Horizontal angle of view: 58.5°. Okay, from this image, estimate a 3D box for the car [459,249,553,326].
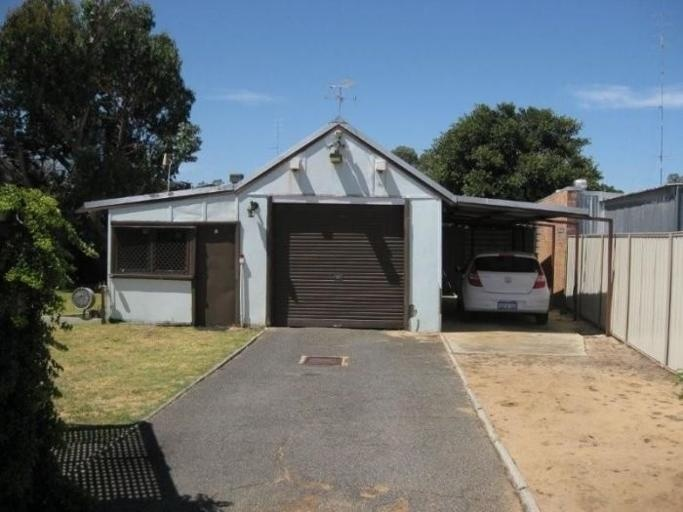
[{"bbox_3d":[4.354,0.898,16.248,1.804,1.669,3.418,1,0,7],"label":"car"}]
